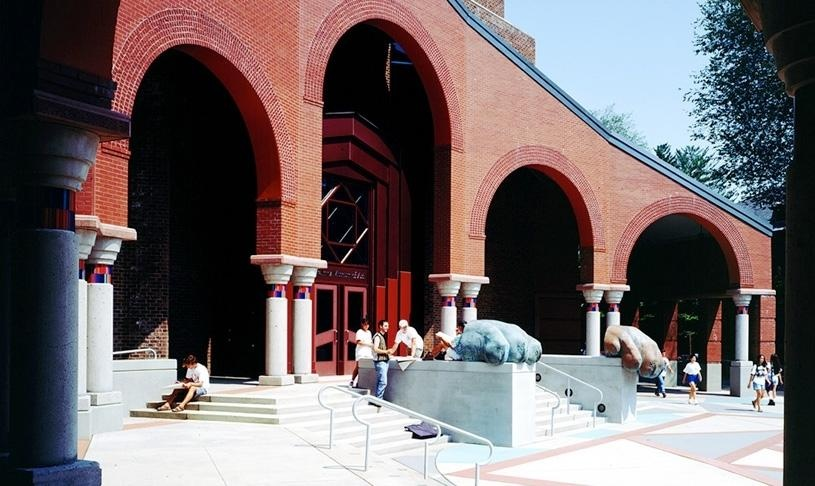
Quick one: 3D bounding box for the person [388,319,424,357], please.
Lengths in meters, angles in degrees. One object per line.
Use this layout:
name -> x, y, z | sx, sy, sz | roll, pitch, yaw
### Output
person -> -0.060, 3.188, 23.407 | 1.021, 1.537, 1.026 | -6, 2, -7

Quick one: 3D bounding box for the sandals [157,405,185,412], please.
sandals -> -6.273, 4.419, 20.662 | 0.667, 0.166, 0.258 | 4, -5, 12

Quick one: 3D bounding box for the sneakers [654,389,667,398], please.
sneakers -> 10.771, 6.437, 33.189 | 0.299, 0.231, 0.534 | 5, -4, -29

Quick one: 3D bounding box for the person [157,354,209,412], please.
person -> -5.970, 3.729, 20.856 | 0.845, 1.298, 1.475 | 3, 6, 41
